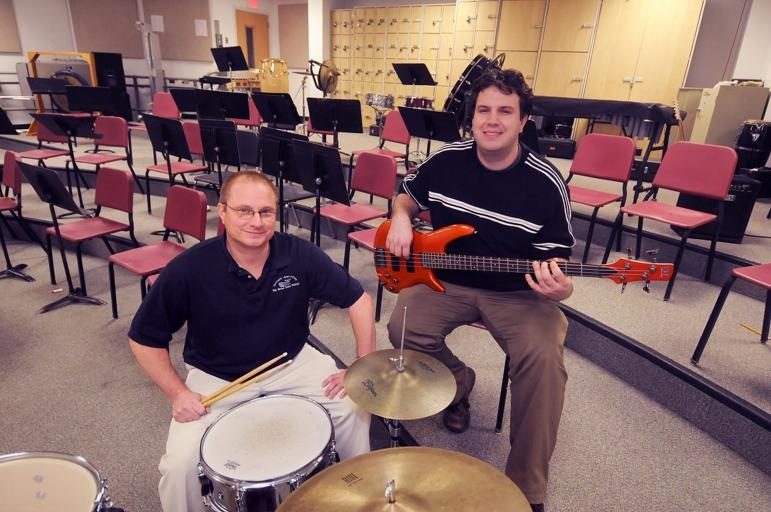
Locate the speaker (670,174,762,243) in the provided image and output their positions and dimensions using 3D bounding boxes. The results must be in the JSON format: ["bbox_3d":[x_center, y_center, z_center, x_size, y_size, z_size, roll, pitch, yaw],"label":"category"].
[{"bbox_3d":[3.576,-0.505,5.777,0.664,0.957,0.823,5,9,9],"label":"speaker"}]

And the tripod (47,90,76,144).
[{"bbox_3d":[-6.422,-2.975,10.286,0.328,1.407,1.343,-4,-1,-38],"label":"tripod"}]

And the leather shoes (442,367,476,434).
[{"bbox_3d":[0.563,1.099,4.036,0.116,0.469,0.277,7,8,-39],"label":"leather shoes"}]

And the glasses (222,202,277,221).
[{"bbox_3d":[-0.908,-0.288,3.462,0.325,0.078,0.108,-1,25,-7],"label":"glasses"}]

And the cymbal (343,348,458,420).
[{"bbox_3d":[0.073,0.779,3.278,0.698,0.238,0.421,4,25,4],"label":"cymbal"}]
